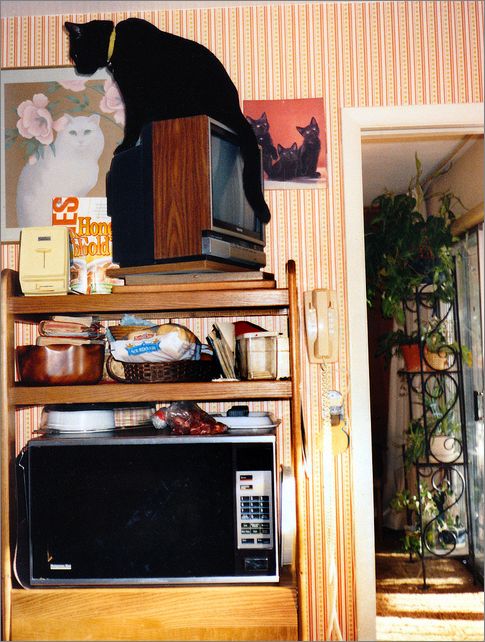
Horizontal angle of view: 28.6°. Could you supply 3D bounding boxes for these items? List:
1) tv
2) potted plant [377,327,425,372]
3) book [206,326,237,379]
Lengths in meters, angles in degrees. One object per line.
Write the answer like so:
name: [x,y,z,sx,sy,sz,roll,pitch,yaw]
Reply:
tv: [-0.170,-0.328,2.825,0.353,0.486,0.381,-3,1,16]
potted plant: [0.695,0.133,4.189,0.139,0.091,0.157,-5,-9,-21]
book: [-0.056,0.092,2.703,0.033,0.143,0.093,-13,11,0]
